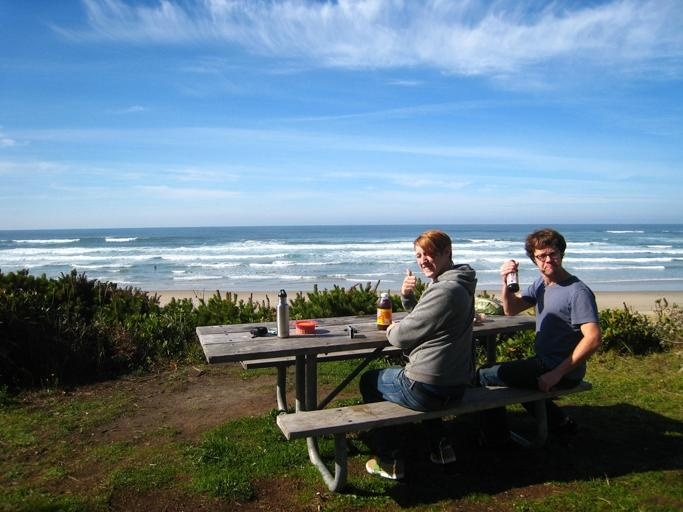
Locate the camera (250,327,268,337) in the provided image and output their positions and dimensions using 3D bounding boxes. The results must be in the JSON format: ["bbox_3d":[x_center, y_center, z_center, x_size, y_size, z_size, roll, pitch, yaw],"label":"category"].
[{"bbox_3d":[-0.878,0.789,5.372,0.145,0.064,0.099,-2,5,-8],"label":"camera"}]

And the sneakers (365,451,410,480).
[{"bbox_3d":[0.431,2.015,4.948,0.182,0.181,0.408,5,-2,-45],"label":"sneakers"}]

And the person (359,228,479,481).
[{"bbox_3d":[0.745,0.920,4.944,1.048,2.338,0.890,1,12,13],"label":"person"}]

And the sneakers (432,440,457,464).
[{"bbox_3d":[1.000,1.931,5.009,0.185,0.169,0.276,0,-22,-2],"label":"sneakers"}]
